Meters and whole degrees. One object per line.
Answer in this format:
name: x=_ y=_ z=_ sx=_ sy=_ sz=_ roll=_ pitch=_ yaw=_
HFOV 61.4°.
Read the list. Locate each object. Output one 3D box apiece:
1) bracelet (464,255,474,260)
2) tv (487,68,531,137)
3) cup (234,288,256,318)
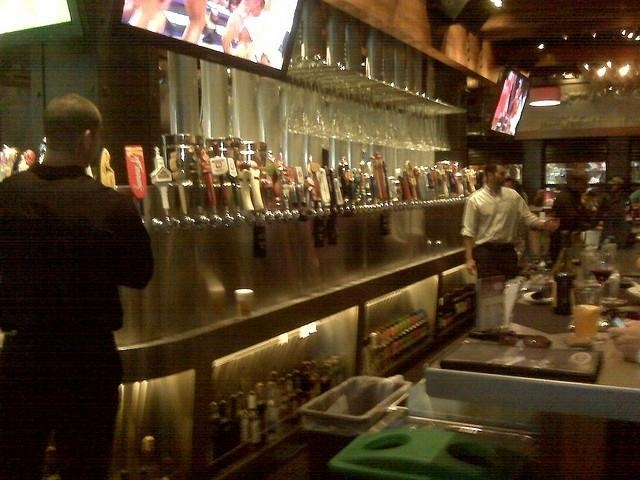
bracelet: x=1.177 y=0.137 z=4.243 sx=0.047 sy=0.047 sz=0.043 roll=-15 pitch=21 yaw=-25
tv: x=1.514 y=-1.127 z=4.373 sx=0.095 sy=0.546 sz=0.948 roll=17 pitch=-9 yaw=21
cup: x=-0.334 y=0.276 z=2.396 sx=0.097 sy=0.147 sz=0.101 roll=0 pitch=4 yaw=0
